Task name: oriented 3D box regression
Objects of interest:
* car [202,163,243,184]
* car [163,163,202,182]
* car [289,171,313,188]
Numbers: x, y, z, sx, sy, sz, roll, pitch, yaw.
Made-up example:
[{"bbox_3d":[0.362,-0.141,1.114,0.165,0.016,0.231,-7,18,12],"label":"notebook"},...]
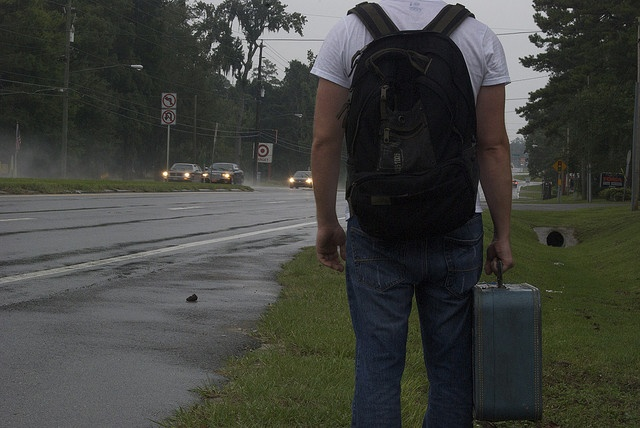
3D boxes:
[{"bbox_3d":[-8.228,-3.465,50.362,2.300,1.696,5.000,3,0,7],"label":"car"},{"bbox_3d":[-11.060,-3.351,49.500,1.660,0.959,2.847,0,0,1],"label":"car"},{"bbox_3d":[-1.739,-3.611,56.373,2.359,2.034,4.204,0,-3,2],"label":"car"}]
